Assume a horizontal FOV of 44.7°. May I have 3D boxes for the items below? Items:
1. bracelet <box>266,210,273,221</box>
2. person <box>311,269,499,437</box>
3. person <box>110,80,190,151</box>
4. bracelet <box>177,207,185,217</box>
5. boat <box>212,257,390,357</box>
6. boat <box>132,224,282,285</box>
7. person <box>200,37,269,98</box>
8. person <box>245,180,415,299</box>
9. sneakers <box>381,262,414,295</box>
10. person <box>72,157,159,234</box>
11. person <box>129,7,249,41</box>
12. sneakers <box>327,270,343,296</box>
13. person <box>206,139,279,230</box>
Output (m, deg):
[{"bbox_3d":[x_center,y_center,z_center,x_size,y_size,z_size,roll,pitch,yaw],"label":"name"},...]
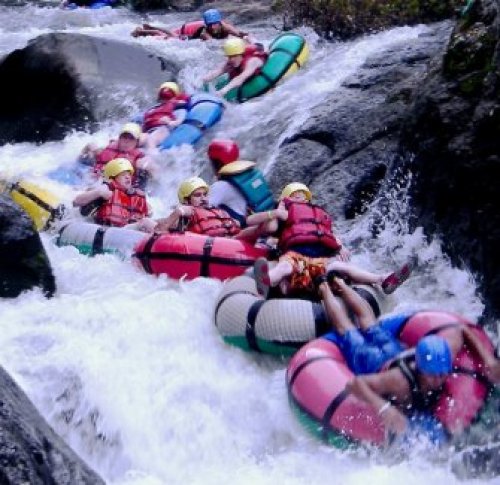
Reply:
[{"bbox_3d":[0.200,-0.275,5.946,0.021,0.069,0.069,13,-12,-15],"label":"bracelet"},{"bbox_3d":[0.957,0.748,4.438,0.708,0.498,1.138,-18,38,-29],"label":"person"},{"bbox_3d":[-1.432,-2.261,10.408,0.609,0.486,1.112,10,27,-30],"label":"person"},{"bbox_3d":[-0.725,-0.314,6.431,0.025,0.093,0.097,-9,17,-27],"label":"bracelet"},{"bbox_3d":[0.468,0.566,5.520,1.548,0.458,1.584,-8,14,6],"label":"boat"},{"bbox_3d":[-0.459,0.183,6.485,1.615,0.448,1.444,4,-1,19],"label":"boat"},{"bbox_3d":[-0.244,-3.094,10.823,0.873,0.869,1.232,5,35,34],"label":"person"},{"bbox_3d":[0.595,-0.014,5.927,1.377,0.774,1.984,4,13,-6],"label":"person"},{"bbox_3d":[1.226,0.295,5.110,0.369,0.138,0.134,-42,52,2],"label":"sneakers"},{"bbox_3d":[-1.547,-0.592,7.734,1.194,0.812,0.810,7,-9,40],"label":"person"},{"bbox_3d":[-1.303,-4.620,13.073,2.133,0.796,1.022,11,27,9],"label":"person"},{"bbox_3d":[0.753,0.350,5.346,0.081,0.102,0.248,-3,41,-2],"label":"sneakers"},{"bbox_3d":[-0.089,-0.698,7.595,0.654,1.298,0.581,-40,52,-17],"label":"person"}]
